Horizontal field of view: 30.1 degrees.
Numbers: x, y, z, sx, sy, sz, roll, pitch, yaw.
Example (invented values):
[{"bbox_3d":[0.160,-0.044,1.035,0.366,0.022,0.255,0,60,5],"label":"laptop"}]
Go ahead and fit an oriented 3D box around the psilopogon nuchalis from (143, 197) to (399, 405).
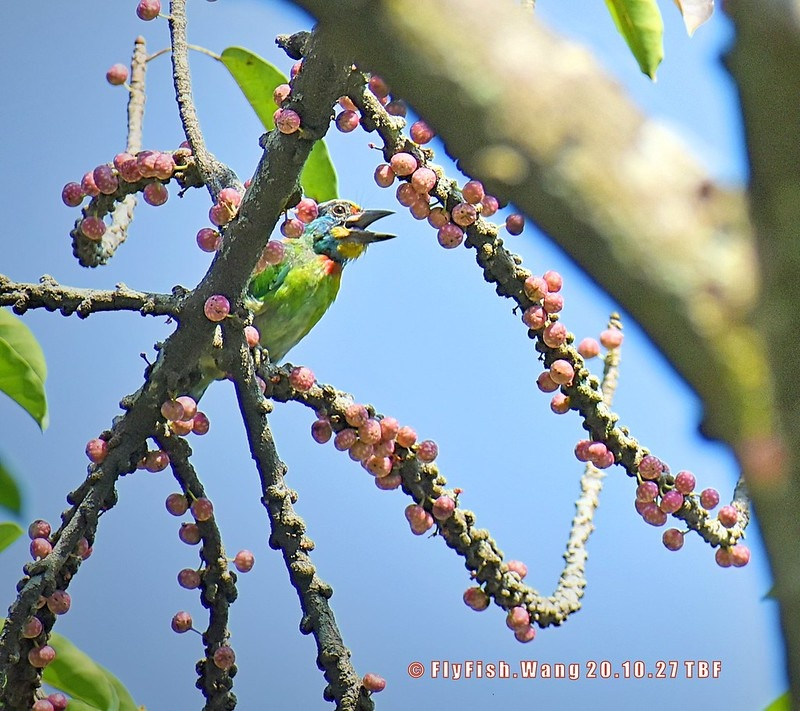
[{"bbox_3d":[-0.249,-0.116,2.711,0.469,0.318,0.165,1,-13,37],"label":"psilopogon nuchalis"}]
